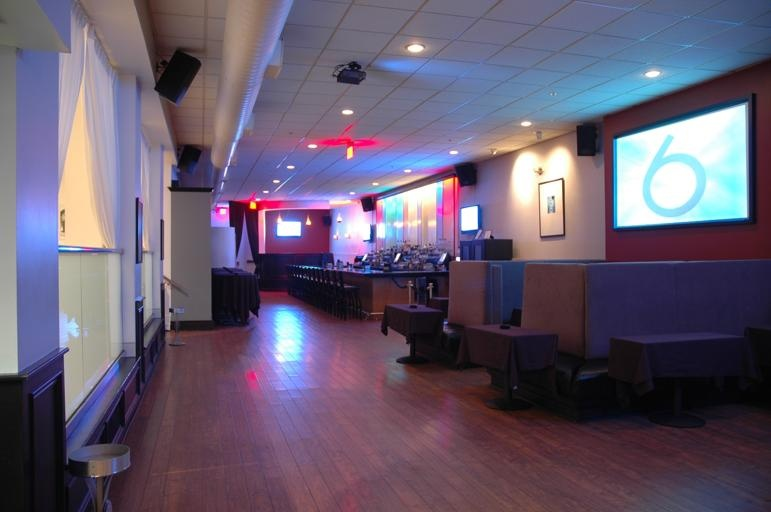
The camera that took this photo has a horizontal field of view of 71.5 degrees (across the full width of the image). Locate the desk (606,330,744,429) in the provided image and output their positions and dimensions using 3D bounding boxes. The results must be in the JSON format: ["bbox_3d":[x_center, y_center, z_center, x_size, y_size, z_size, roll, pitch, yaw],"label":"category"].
[{"bbox_3d":[2.845,1.160,5.192,1.196,0.854,0.603,0,5,-9],"label":"desk"}]

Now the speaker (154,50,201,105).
[{"bbox_3d":[-2.442,-2.064,6.228,0.495,0.602,0.248,3,11,22],"label":"speaker"}]

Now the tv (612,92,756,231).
[{"bbox_3d":[4.380,-1.337,7.701,0.071,1.495,1.938,5,-6,-23],"label":"tv"}]

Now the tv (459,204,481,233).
[{"bbox_3d":[2.086,-0.873,13.027,0.076,0.534,0.718,2,-3,-19],"label":"tv"}]

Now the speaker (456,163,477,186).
[{"bbox_3d":[1.999,-1.966,13.041,0.258,0.502,0.505,-9,1,-20],"label":"speaker"}]

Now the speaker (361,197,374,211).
[{"bbox_3d":[-0.669,-1.908,19.951,0.253,0.460,0.467,-11,8,-23],"label":"speaker"}]

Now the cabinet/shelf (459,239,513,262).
[{"bbox_3d":[2.148,-0.102,11.623,1.127,0.517,0.560,5,11,31],"label":"cabinet/shelf"}]

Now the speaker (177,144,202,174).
[{"bbox_3d":[-3.927,-1.907,10.609,0.156,0.469,0.658,18,3,-16],"label":"speaker"}]

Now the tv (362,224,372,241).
[{"bbox_3d":[-0.699,-0.844,20.148,0.322,0.649,0.620,1,-3,-34],"label":"tv"}]

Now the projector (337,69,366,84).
[{"bbox_3d":[-0.471,-2.338,6.952,0.413,0.227,0.332,-1,10,-2],"label":"projector"}]

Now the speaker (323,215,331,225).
[{"bbox_3d":[-2.488,-1.480,22.780,0.375,0.388,0.121,-5,10,-20],"label":"speaker"}]

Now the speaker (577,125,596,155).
[{"bbox_3d":[3.577,-2.016,9.452,0.357,0.551,0.228,3,10,21],"label":"speaker"}]
